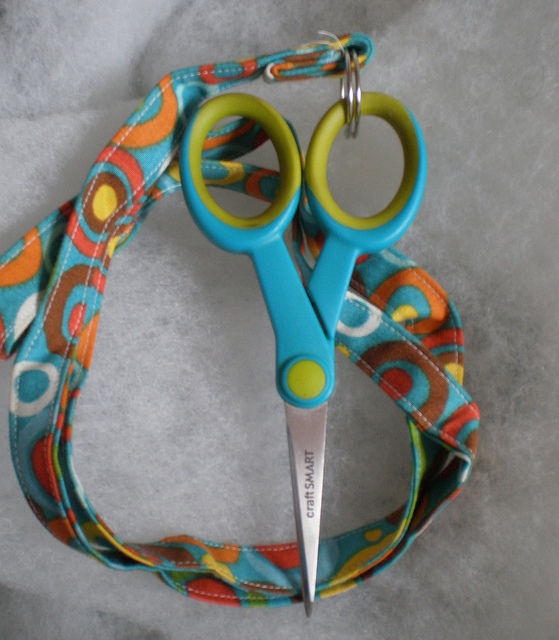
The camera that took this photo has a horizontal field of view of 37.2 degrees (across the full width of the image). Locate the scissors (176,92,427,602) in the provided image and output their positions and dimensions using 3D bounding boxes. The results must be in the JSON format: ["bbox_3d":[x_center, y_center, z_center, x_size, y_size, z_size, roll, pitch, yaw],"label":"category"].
[{"bbox_3d":[0.017,-0.021,0.691,0.186,0.045,0.456,0,83,-4],"label":"scissors"}]
